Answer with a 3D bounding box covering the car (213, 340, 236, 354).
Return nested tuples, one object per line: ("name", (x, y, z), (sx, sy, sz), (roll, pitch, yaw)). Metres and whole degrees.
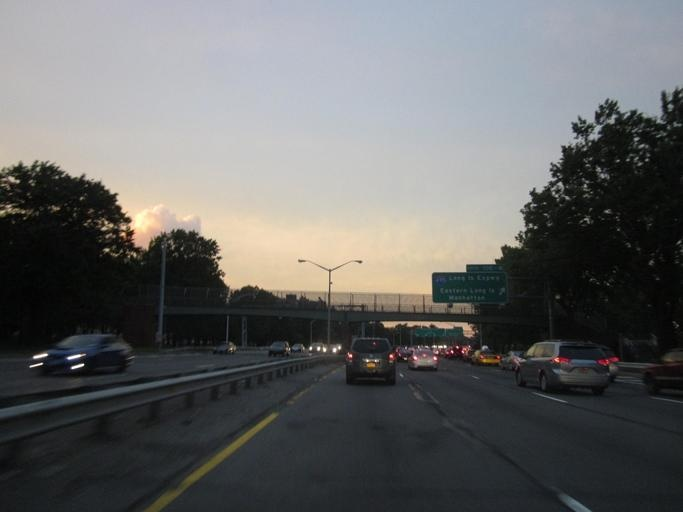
("car", (-13.541, 10.768, 65.611), (1.336, 1.144, 3.161), (-1, -15, 1))
